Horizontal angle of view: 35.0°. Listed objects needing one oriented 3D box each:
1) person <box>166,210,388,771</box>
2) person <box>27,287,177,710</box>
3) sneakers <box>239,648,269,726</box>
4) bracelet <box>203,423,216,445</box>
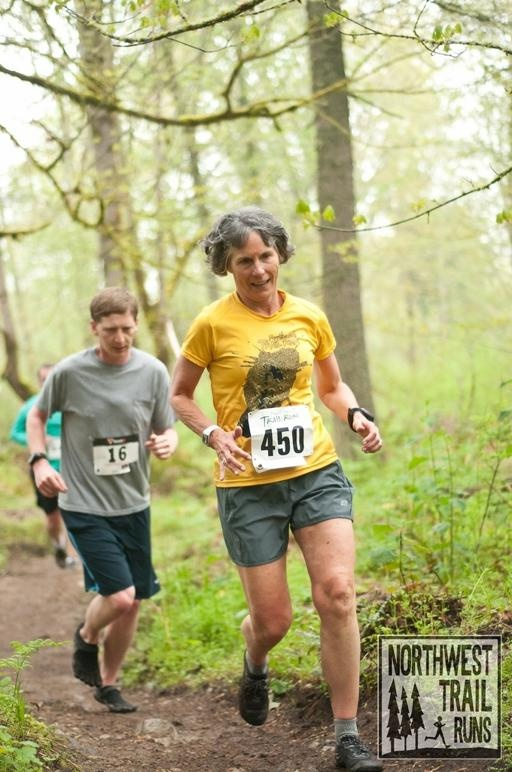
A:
[{"bbox_3d":[0.093,0.394,3.644,0.868,2.101,0.761,-6,2,25],"label":"person"},{"bbox_3d":[-0.721,0.794,4.363,0.797,2.050,0.567,-8,2,-14],"label":"person"},{"bbox_3d":[-0.005,1.423,3.849,0.137,0.331,0.143,-1,11,-6],"label":"sneakers"},{"bbox_3d":[-0.199,0.213,3.581,0.073,0.049,0.067,-49,-8,-32],"label":"bracelet"}]
